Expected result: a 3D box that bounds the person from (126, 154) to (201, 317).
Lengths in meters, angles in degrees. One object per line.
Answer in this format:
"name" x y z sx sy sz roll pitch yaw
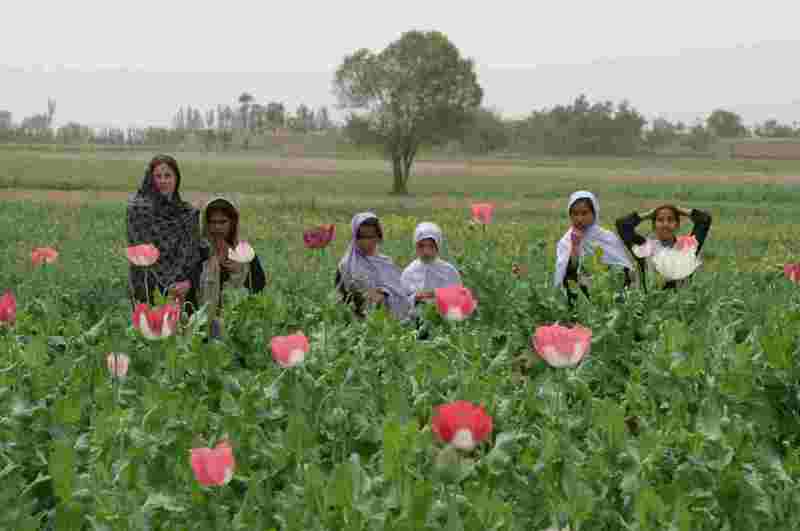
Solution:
"person" -1.358 -0.222 4.752 0.337 0.823 0.577 -4 12 -30
